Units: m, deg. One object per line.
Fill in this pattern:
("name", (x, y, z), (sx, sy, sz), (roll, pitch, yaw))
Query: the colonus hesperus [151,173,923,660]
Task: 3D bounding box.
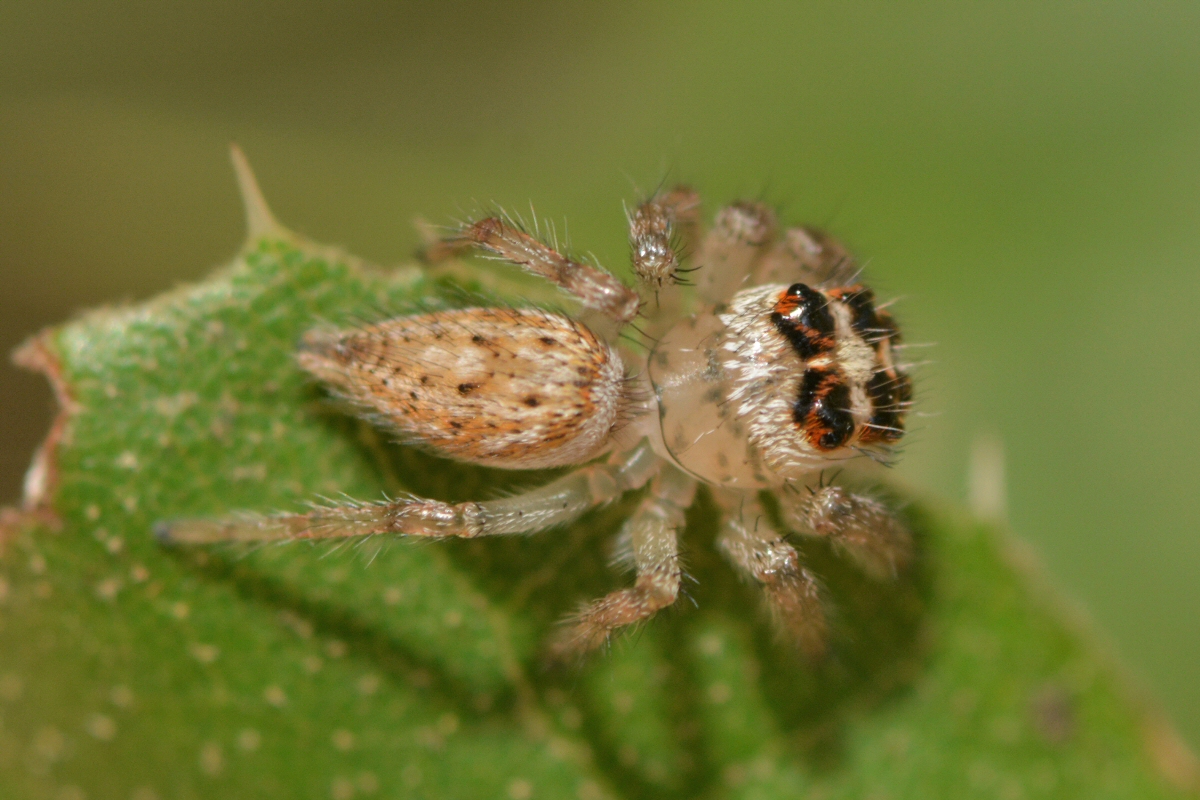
("colonus hesperus", (0.046, 0.051, 3.042), (1.559, 0.939, 0.866), (9, 36, -13))
